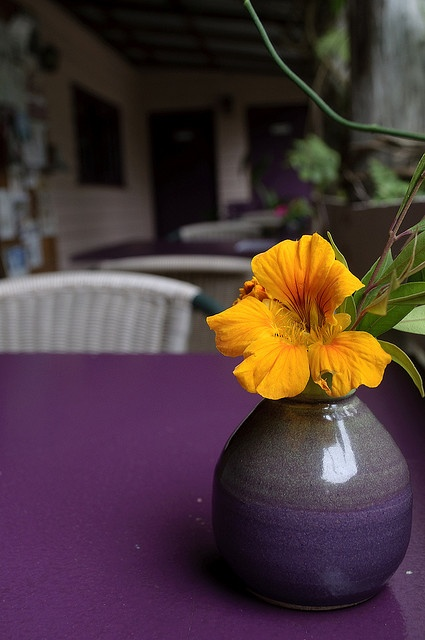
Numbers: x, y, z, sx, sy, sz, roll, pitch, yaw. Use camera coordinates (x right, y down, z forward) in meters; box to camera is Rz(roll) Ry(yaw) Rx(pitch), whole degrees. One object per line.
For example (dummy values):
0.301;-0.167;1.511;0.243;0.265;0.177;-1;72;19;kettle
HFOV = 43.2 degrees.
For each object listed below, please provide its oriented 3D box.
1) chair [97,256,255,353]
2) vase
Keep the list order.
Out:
-0.067;-0.061;1.602;0.382;0.360;0.365;2;29;5;chair
0.058;0.092;0.330;0.117;0.099;0.112;-1;-2;14;vase
